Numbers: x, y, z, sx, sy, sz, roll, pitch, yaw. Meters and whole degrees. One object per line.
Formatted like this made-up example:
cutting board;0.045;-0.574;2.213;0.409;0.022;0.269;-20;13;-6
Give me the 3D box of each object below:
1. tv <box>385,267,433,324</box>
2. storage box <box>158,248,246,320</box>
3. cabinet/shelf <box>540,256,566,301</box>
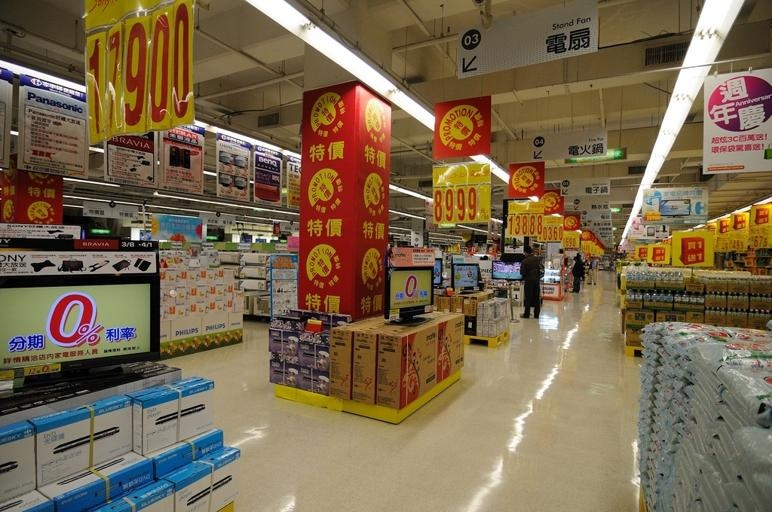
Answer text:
tv;0.291;0.516;6.911;0.104;0.570;0.791;0;0;32
storage box;-3.353;0.514;8.984;1.235;0.847;1.317;1;1;13
cabinet/shelf;5.718;0.730;16.921;0.701;1.290;1.036;4;9;17
